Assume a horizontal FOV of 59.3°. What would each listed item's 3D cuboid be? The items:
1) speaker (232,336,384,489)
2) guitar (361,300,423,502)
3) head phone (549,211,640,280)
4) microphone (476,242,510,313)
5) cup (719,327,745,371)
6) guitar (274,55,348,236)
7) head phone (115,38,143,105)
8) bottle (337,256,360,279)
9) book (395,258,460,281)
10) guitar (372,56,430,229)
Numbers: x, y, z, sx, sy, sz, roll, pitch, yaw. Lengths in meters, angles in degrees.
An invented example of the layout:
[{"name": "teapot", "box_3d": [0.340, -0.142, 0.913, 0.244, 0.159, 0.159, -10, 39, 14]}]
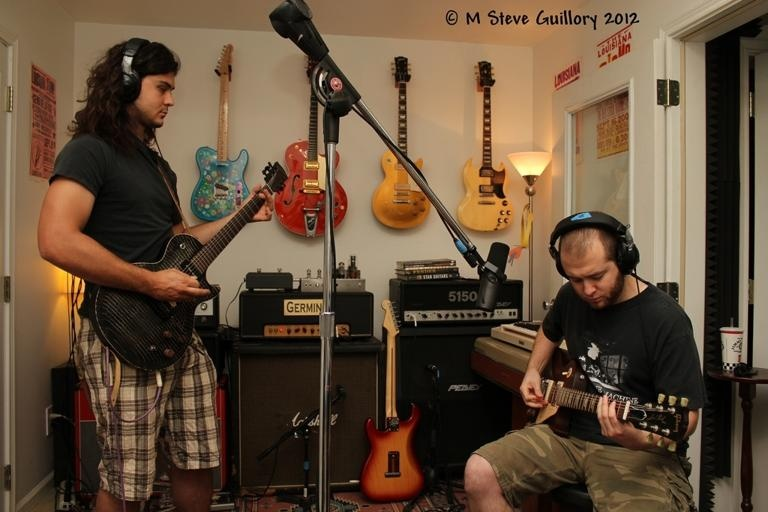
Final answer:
[{"name": "speaker", "box_3d": [-0.538, 0.974, 4.879, 1.317, 1.394, 0.828, 0, -4, -5]}, {"name": "guitar", "box_3d": [0.066, 0.955, 4.518, 0.407, 1.299, 0.232, 1, -2, 3]}, {"name": "head phone", "box_3d": [1.060, -0.053, 3.339, 0.347, 0.325, 0.146, -10, 17, 38]}, {"name": "microphone", "box_3d": [0.499, 0.091, 3.093, 0.129, 0.323, 0.242, 0, -2, 11]}, {"name": "cup", "box_3d": [2.018, 0.537, 3.924, 0.108, 0.253, 0.171, 0, -3, 26]}, {"name": "guitar", "box_3d": [-0.530, -0.804, 5.012, 0.528, 1.317, 0.290, 1, -2, -5]}, {"name": "head phone", "box_3d": [-1.255, -0.929, 3.346, 0.101, 0.267, 0.279, 6, 11, -19]}, {"name": "bottle", "box_3d": [-0.262, 0.080, 4.924, 0.136, 0.141, 0.073, 0, -8, -3]}, {"name": "book", "box_3d": [0.306, 0.090, 4.730, 0.434, 0.143, 0.173, 1, -2, 3]}, {"name": "guitar", "box_3d": [0.129, -0.877, 5.151, 0.445, 1.344, 0.301, 0, -3, 12]}]
